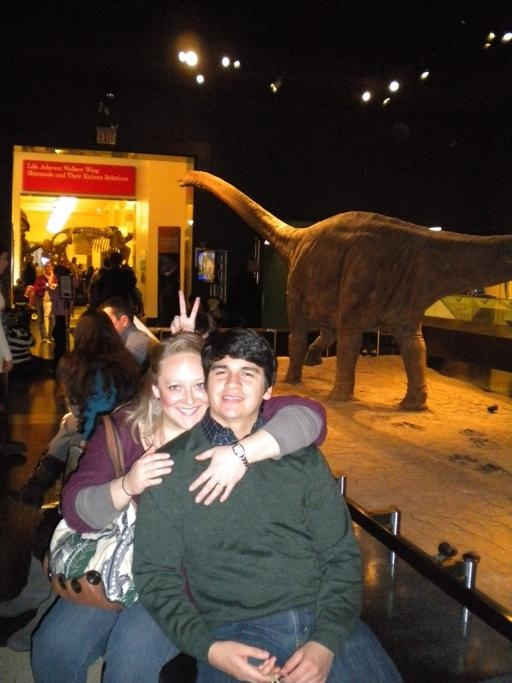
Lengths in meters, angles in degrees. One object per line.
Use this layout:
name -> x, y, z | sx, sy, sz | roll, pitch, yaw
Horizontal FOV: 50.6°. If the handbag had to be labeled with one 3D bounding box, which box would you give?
handbag -> -0.425, 0.534, 1.384 | 0.294, 0.241, 0.133 | 3, 6, 9
